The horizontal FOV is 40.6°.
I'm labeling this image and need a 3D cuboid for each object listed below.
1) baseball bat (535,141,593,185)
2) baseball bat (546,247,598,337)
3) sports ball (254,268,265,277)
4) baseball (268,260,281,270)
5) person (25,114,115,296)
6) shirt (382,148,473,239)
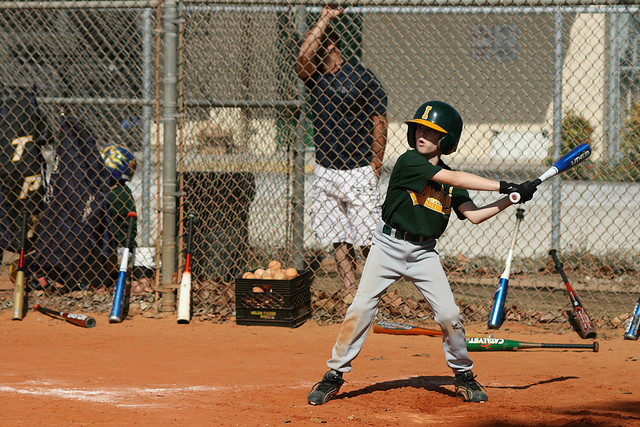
[{"bbox_3d":[2.943,-0.604,10.374,0.186,0.198,1.179,36,49,20],"label":"baseball bat"},{"bbox_3d":[3.004,0.968,10.366,0.187,0.965,0.154,-16,-24,-8],"label":"baseball bat"},{"bbox_3d":[-0.698,0.680,9.893,0.080,0.088,0.084,-2,-1,0],"label":"sports ball"},{"bbox_3d":[-0.528,0.608,10.090,0.108,0.090,0.087,5,-23,-18],"label":"baseball"},{"bbox_3d":[-3.032,-0.100,10.512,1.085,2.195,0.261,1,3,1],"label":"person"},{"bbox_3d":[1.027,-0.204,8.138,0.730,0.820,0.696,13,-1,-18],"label":"shirt"}]
